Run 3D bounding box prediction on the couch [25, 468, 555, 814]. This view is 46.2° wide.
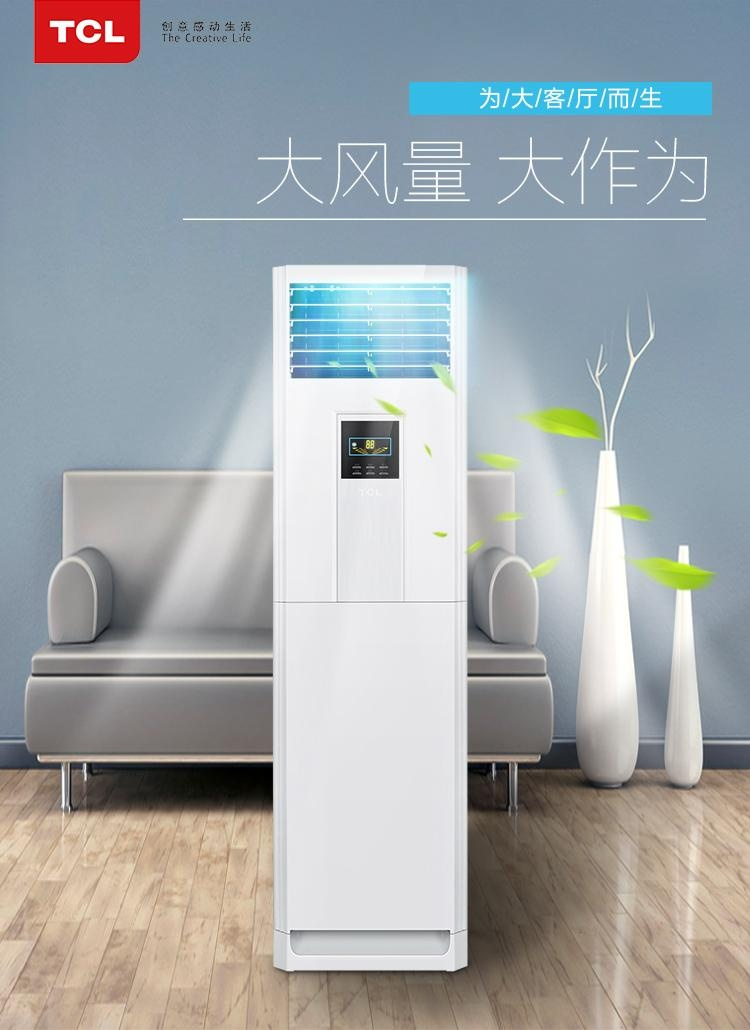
[{"bbox_3d":[-0.261,0.363,2.762,1.496,1.073,0.721,0,-1,-7],"label":"couch"}]

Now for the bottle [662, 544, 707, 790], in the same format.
[{"bbox_3d":[0.961,0.541,2.753,0.104,0.610,0.166,1,1,19],"label":"bottle"}]

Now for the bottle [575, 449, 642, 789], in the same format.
[{"bbox_3d":[0.715,0.393,2.706,0.165,0.893,0.146,0,1,-19],"label":"bottle"}]
